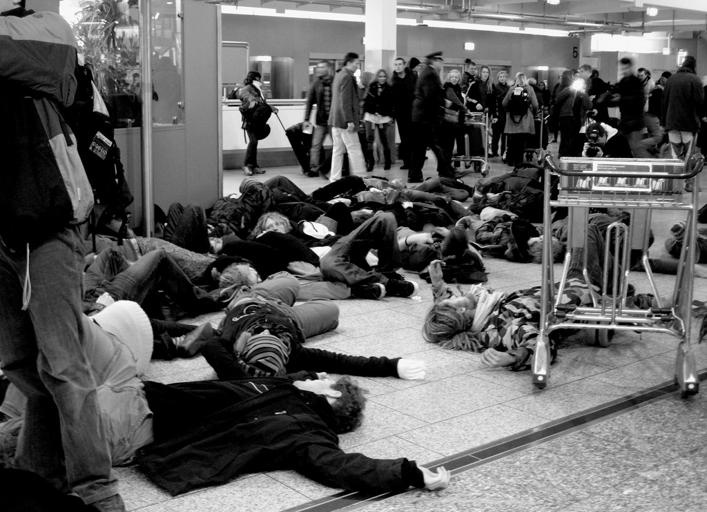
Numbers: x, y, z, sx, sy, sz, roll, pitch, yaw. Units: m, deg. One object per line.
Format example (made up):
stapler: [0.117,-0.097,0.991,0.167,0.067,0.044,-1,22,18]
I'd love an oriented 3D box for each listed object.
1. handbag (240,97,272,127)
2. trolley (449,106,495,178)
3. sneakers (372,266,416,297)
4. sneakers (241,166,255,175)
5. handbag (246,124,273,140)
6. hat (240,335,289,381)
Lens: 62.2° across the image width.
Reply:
handbag: [-2.030,-2.996,12.222,0.581,0.228,0.566,-10,29,-19]
trolley: [2.917,-2.721,14.114,0.997,1.270,1.148,-6,17,-4]
sneakers: [0.317,0.260,5.697,0.524,0.224,0.180,9,19,30]
sneakers: [-2.300,-1.852,12.689,0.151,0.118,0.355,-35,29,-12]
handbag: [-2.008,-2.641,12.419,0.448,0.178,0.320,1,-5,-6]
hat: [-0.520,0.572,3.407,0.267,0.172,0.209,-17,23,-6]
